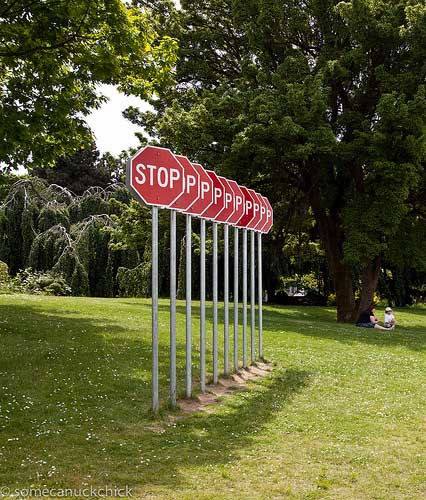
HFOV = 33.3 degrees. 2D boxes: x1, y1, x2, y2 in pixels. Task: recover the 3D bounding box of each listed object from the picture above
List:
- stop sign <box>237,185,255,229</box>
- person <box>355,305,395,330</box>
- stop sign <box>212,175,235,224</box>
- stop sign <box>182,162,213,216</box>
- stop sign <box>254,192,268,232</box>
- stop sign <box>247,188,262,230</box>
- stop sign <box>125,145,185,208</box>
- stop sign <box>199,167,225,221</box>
[{"bbox_3d":[0.723,-0.920,15.903,0.126,1.118,0.925,1,2,28],"label":"stop sign"},{"bbox_3d":[5.519,2.266,24.266,1.107,0.918,0.745,-1,3,-10],"label":"person"},{"bbox_3d":[0.189,-1.006,14.617,0.123,1.296,0.898,2,5,26],"label":"stop sign"},{"bbox_3d":[-0.317,-1.124,13.457,0.124,0.978,0.965,3,4,28],"label":"stop sign"},{"bbox_3d":[1.116,-0.843,16.790,0.114,0.870,0.797,-2,7,20],"label":"stop sign"},{"bbox_3d":[0.933,-0.889,16.407,0.116,1.273,0.876,1,3,21],"label":"stop sign"},{"bbox_3d":[-1.015,-1.265,12.474,0.254,1.042,1.314,6,6,36],"label":"stop sign"},{"bbox_3d":[-0.048,-1.050,14.093,0.166,1.399,1.011,2,1,28],"label":"stop sign"}]
